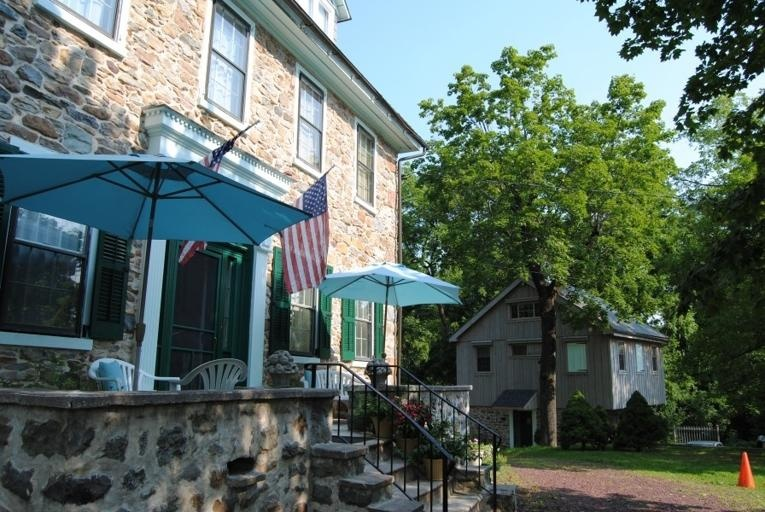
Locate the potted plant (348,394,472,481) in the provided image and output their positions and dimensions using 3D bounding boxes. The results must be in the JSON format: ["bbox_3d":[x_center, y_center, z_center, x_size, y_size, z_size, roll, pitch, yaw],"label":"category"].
[{"bbox_3d":[0.287,2.825,8.861,1.892,1.570,2.714,0,-18,-2],"label":"potted plant"}]

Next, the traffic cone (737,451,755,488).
[{"bbox_3d":[8.360,4.995,12.688,0.347,0.698,1.383,-10,-20,31],"label":"traffic cone"}]

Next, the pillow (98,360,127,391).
[{"bbox_3d":[-3.342,1.487,6.731,0.118,0.331,0.314,-30,-22,3],"label":"pillow"}]
